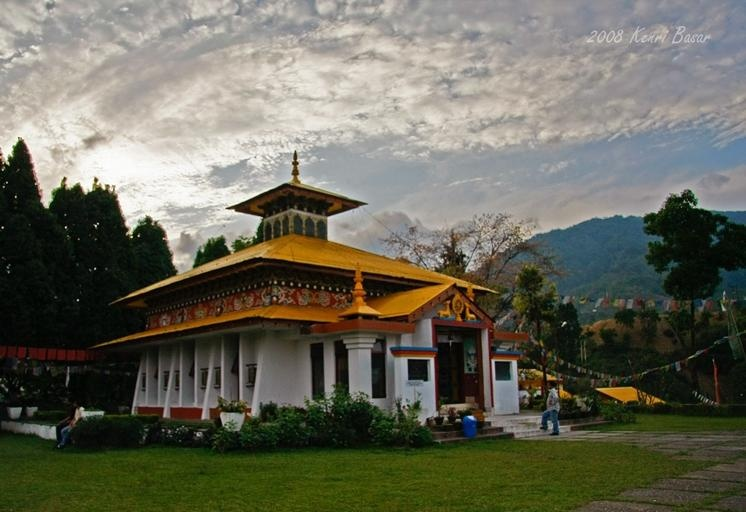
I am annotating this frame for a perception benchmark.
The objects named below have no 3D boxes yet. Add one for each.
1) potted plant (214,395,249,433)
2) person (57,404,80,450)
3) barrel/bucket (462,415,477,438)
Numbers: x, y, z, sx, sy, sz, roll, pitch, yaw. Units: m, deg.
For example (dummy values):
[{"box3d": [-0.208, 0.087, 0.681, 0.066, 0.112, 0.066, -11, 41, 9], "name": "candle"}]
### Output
[{"box3d": [-4.877, 5.579, 22.314, 1.208, 1.166, 0.980, 2, -4, -24], "name": "potted plant"}, {"box3d": [-11.331, 6.300, 23.721, 0.771, 1.691, 1.338, 9, -22, -25], "name": "person"}, {"box3d": [3.541, 6.180, 23.103, 0.553, 0.826, 0.429, 1, -20, -4], "name": "barrel/bucket"}]
